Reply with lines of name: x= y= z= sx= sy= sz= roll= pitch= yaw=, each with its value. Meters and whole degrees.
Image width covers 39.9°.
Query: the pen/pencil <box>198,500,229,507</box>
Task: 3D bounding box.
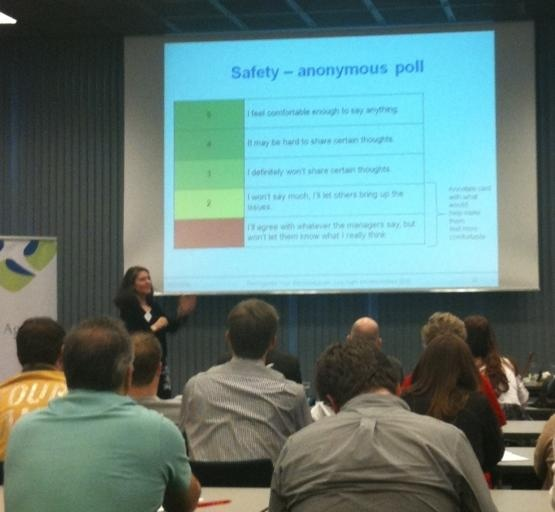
pen/pencil: x=-0.251 y=0.941 z=2.919 sx=0.085 sy=0.012 sz=0.017 roll=-2 pitch=26 yaw=7
